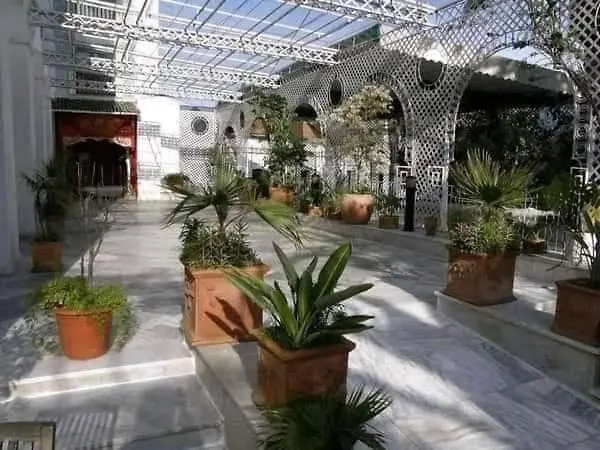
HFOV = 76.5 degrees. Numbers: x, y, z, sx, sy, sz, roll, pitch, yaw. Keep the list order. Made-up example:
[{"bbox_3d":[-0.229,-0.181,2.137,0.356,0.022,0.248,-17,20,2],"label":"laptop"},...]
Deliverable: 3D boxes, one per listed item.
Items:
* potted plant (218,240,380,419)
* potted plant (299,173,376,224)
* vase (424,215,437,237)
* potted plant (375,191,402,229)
[{"bbox_3d":[0.034,0.630,2.297,0.574,1.070,0.793,-4,12,-39],"label":"potted plant"},{"bbox_3d":[1.020,-0.653,10.028,1.101,0.825,1.876,1,2,-18],"label":"potted plant"},{"bbox_3d":[2.612,0.026,7.798,0.347,0.381,0.345,0,4,-1],"label":"vase"},{"bbox_3d":[2.040,-0.318,8.756,0.534,0.779,0.718,-4,1,-11],"label":"potted plant"}]
